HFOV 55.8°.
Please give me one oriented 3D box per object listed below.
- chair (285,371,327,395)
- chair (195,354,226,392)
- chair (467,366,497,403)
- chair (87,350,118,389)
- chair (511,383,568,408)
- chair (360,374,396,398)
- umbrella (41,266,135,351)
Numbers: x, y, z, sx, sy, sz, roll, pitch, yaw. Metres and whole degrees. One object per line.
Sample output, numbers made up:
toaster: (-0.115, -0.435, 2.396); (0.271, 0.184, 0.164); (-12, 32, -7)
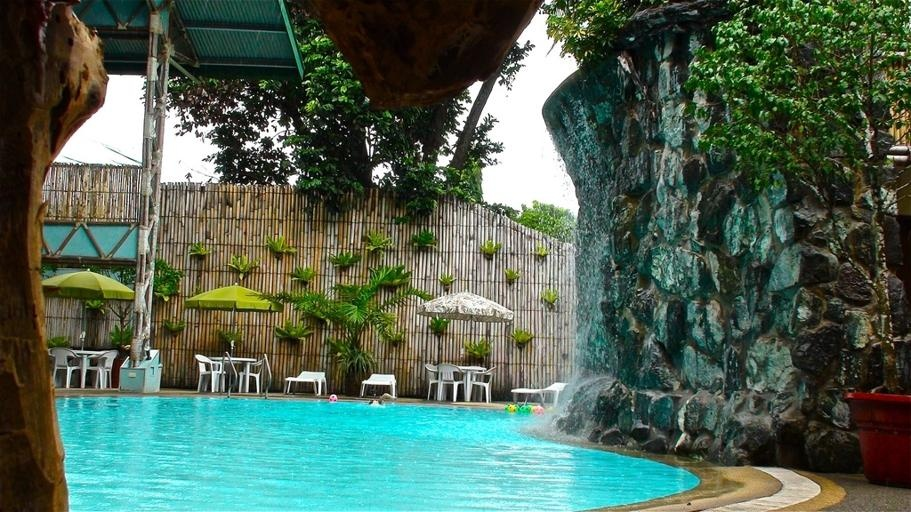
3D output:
chair: (-3.312, 2.836, 19.160); (0.938, 0.520, 1.241); (4, -10, -11)
chair: (-5.351, 2.616, 18.822); (0.580, 0.764, 1.331); (4, -10, -14)
chair: (0.595, 2.896, 19.210); (0.679, 0.922, 0.801); (1, -6, 7)
chair: (-7.513, 2.391, 17.954); (0.700, 0.943, 0.686); (0, -3, 13)
chair: (1.762, 3.151, 19.313); (1.142, 0.503, 0.664); (4, -8, -31)
chair: (-1.589, 2.758, 18.688); (0.735, 0.496, 0.587); (-2, -16, 6)
umbrella: (-7.665, 1.043, 18.238); (1.880, 1.613, 1.849); (3, -6, 1)
